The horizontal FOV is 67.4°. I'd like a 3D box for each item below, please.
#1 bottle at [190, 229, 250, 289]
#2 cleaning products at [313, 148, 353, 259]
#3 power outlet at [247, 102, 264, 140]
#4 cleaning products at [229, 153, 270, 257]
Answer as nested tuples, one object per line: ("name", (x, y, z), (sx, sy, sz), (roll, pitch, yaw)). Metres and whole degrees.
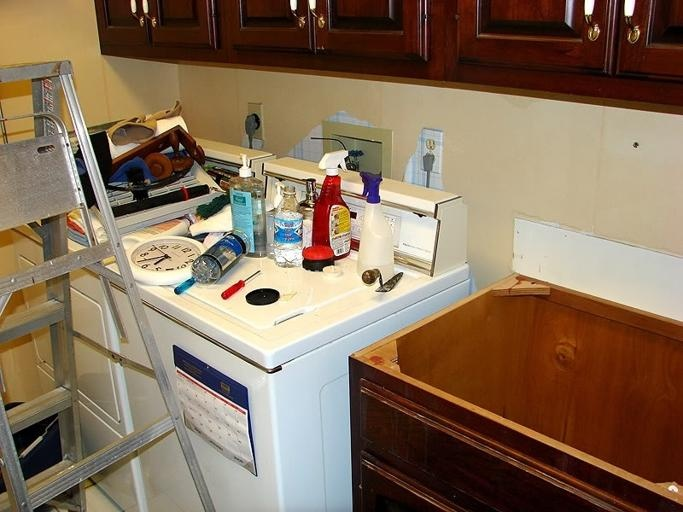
("bottle", (-0.404, 0.016, 1.717), (0.091, 0.100, 0.233), (16, 34, 13))
("cleaning products", (-0.036, -0.165, 1.765), (0.146, 0.359, 0.129), (-6, 20, -9))
("power outlet", (-0.426, -0.672, 2.530), (0.119, 0.226, 0.022), (20, 31, 36))
("cleaning products", (-0.339, -0.177, 1.843), (0.133, 0.328, 0.217), (-7, 21, -12))
